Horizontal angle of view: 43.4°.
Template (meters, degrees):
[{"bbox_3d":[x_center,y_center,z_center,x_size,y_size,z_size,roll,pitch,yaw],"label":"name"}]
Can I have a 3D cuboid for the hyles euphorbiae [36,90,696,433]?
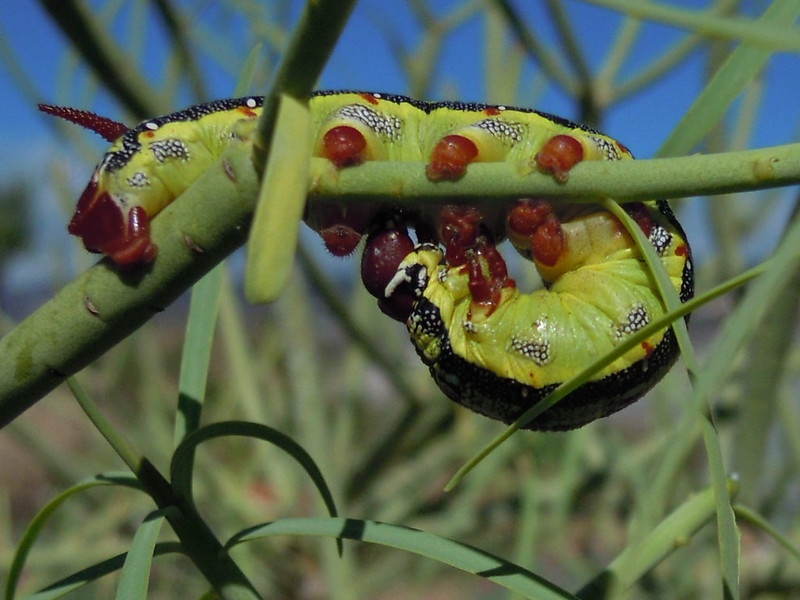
[{"bbox_3d":[0.002,-0.053,1.750,0.917,0.578,0.228,20,-44,-9],"label":"hyles euphorbiae"}]
